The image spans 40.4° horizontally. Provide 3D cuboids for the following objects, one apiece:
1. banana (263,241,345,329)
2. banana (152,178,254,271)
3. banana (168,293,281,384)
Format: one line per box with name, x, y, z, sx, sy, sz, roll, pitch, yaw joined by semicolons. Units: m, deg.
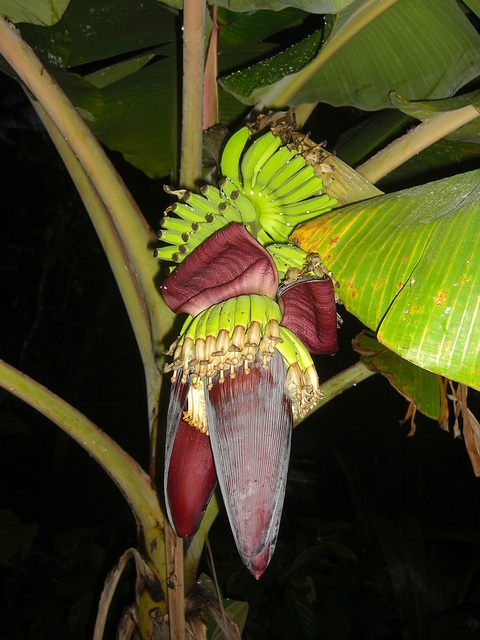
banana;0.075;-0.036;1.030;0.075;0.118;0.198;26;-5;-1
banana;-0.057;-0.156;1.100;0.122;0.154;0.204;-15;-1;-21
banana;-0.020;0.059;1.037;0.108;0.048;0.133;14;-3;-27
